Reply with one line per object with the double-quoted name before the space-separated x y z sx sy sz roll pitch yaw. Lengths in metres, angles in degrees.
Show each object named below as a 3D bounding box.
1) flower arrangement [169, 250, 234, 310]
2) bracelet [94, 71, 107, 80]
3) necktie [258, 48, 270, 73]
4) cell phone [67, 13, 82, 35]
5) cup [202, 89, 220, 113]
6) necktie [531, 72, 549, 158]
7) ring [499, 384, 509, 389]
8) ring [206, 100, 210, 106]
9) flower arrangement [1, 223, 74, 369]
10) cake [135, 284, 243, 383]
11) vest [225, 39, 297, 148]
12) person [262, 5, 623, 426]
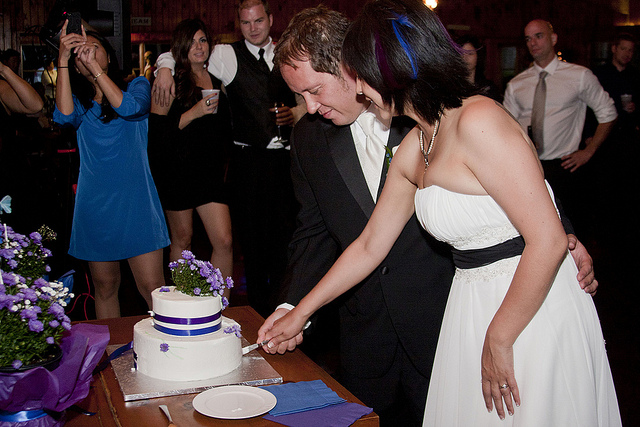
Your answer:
"flower arrangement" -0.500 0.257 1.950 0.260 0.142 0.223 9 -13 27
"bracelet" -1.539 -0.997 3.395 0.063 0.066 0.159 3 13 3
"necktie" -0.505 -1.392 4.253 0.057 0.252 0.021 -18 3 -8
"cell phone" -1.710 -1.353 3.352 0.101 0.147 0.087 0 12 -9
"cup" -0.848 -0.916 3.828 0.137 0.186 0.235 5 13 14
"necktie" 2.718 -1.257 5.947 0.195 1.017 0.147 7 12 24
"ring" 0.654 0.621 1.707 0.016 0.006 0.017 -5 -2 0
"ring" -0.874 -0.885 3.736 0.019 0.034 0.017 0 12 -9
"flower arrangement" -0.975 0.283 1.652 0.206 0.467 0.508 -5 14 -31
"cake" -0.516 0.483 1.834 0.325 0.253 0.349 -1 4 -11
"vest" -0.557 -1.085 4.243 0.581 0.938 0.365 7 12 21
"person" 0.584 0.065 1.867 1.146 1.646 0.568 11 14 36
